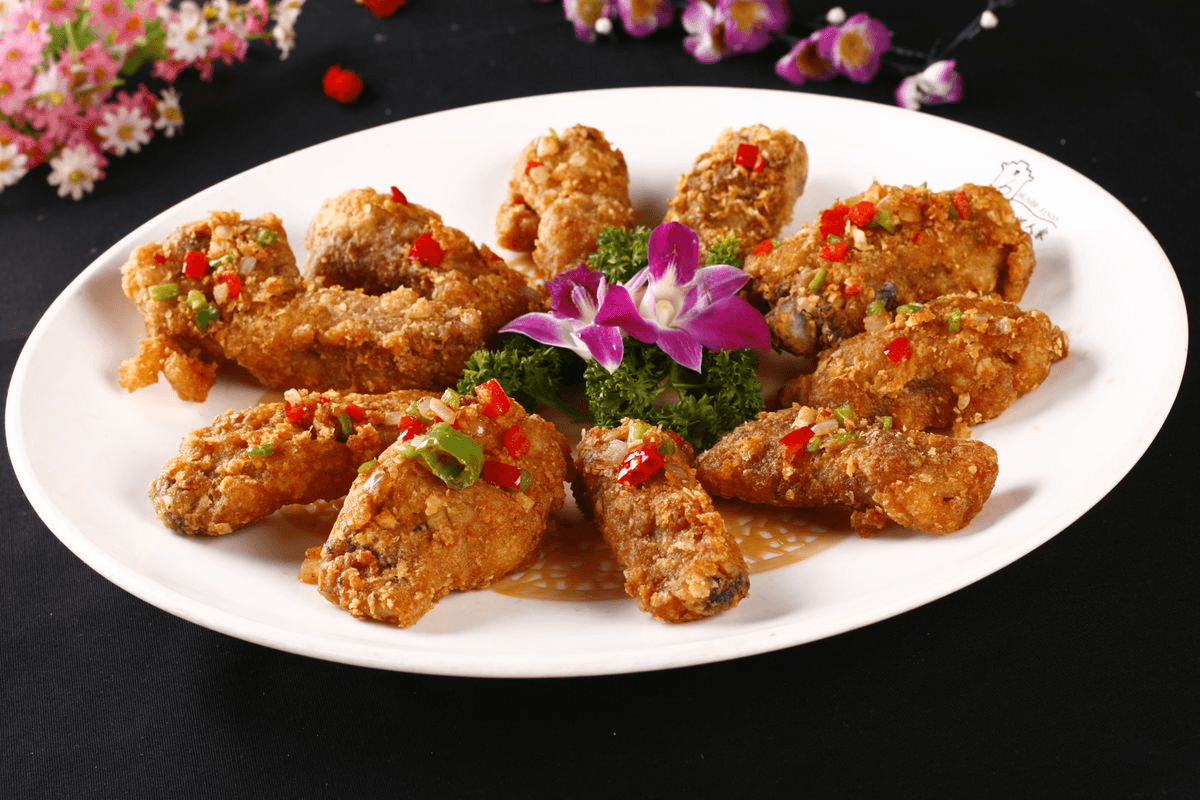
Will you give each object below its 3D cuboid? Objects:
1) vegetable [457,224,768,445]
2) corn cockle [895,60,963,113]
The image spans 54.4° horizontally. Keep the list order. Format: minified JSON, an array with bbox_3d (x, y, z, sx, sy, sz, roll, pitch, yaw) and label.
[{"bbox_3d":[0.179,-0.209,4.614,1.008,0.362,0.992,38,84,16],"label":"vegetable"},{"bbox_3d":[1.702,-1.648,6.106,0.359,0.244,0.228,-9,67,19],"label":"corn cockle"}]
